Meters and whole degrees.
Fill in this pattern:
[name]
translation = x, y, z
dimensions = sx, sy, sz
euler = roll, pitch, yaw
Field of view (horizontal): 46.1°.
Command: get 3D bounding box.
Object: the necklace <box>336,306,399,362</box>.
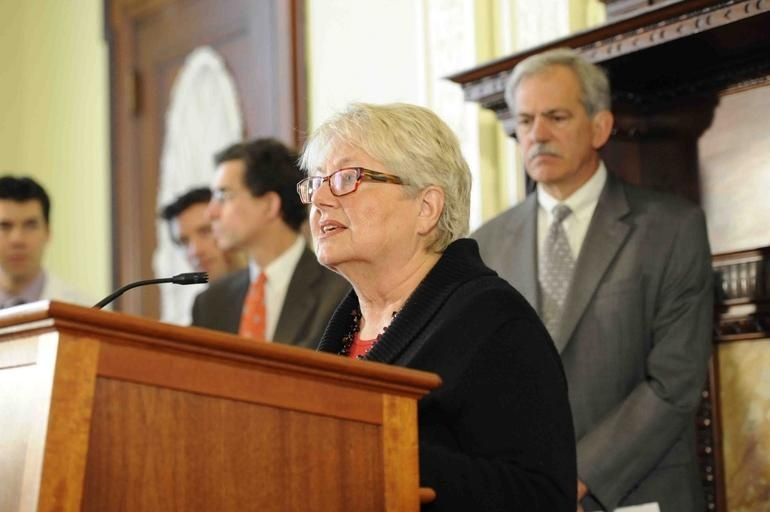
[necklace]
translation = -0.047, 0.190, 2.401
dimensions = 0.111, 0.146, 0.059
euler = 17, -15, 48

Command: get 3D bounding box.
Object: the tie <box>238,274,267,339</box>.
[tie]
translation = -0.558, 0.207, 3.855
dimensions = 0.119, 0.269, 0.114
euler = -1, 6, -9

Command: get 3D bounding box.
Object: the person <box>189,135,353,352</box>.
[person]
translation = -0.422, -0.027, 3.401
dimensions = 0.418, 0.731, 0.801
euler = 4, -8, -34
